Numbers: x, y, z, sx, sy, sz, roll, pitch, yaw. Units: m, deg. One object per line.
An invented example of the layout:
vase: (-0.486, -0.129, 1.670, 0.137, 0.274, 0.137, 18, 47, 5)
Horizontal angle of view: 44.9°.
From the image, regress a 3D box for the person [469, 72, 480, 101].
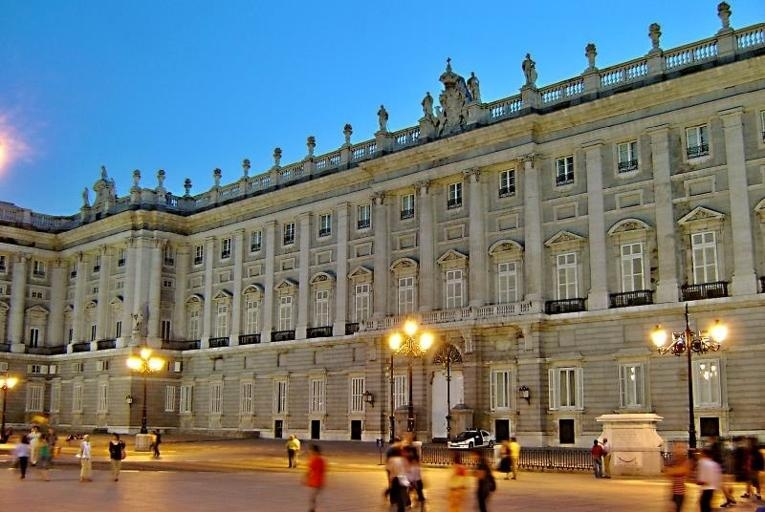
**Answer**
person: (6.158, -11.302, 63.125, 0.580, 2.036, 0.932, 4, -18, -19)

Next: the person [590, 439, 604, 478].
person: (10.382, 9.787, 44.813, 0.491, 1.769, 0.977, -5, -17, 13)
